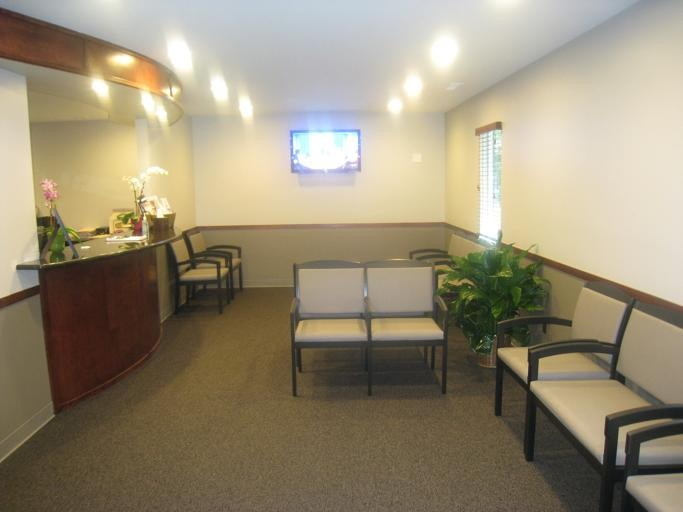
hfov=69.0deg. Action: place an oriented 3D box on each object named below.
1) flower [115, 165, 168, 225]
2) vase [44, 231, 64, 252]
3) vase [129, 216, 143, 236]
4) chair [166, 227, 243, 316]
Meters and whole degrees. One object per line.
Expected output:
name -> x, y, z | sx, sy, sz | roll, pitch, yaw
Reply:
flower -> -2.675, -0.804, 6.584 | 0.677, 0.783, 0.353 | 17, 23, 38
vase -> -2.619, -0.121, 4.533 | 0.138, 0.183, 0.175 | 4, 0, -40
vase -> -2.375, -0.339, 5.756 | 0.133, 0.195, 0.075 | -2, 12, -7
chair -> -2.167, -0.072, 7.838 | 0.957, 1.315, 1.807 | 0, 8, -2
